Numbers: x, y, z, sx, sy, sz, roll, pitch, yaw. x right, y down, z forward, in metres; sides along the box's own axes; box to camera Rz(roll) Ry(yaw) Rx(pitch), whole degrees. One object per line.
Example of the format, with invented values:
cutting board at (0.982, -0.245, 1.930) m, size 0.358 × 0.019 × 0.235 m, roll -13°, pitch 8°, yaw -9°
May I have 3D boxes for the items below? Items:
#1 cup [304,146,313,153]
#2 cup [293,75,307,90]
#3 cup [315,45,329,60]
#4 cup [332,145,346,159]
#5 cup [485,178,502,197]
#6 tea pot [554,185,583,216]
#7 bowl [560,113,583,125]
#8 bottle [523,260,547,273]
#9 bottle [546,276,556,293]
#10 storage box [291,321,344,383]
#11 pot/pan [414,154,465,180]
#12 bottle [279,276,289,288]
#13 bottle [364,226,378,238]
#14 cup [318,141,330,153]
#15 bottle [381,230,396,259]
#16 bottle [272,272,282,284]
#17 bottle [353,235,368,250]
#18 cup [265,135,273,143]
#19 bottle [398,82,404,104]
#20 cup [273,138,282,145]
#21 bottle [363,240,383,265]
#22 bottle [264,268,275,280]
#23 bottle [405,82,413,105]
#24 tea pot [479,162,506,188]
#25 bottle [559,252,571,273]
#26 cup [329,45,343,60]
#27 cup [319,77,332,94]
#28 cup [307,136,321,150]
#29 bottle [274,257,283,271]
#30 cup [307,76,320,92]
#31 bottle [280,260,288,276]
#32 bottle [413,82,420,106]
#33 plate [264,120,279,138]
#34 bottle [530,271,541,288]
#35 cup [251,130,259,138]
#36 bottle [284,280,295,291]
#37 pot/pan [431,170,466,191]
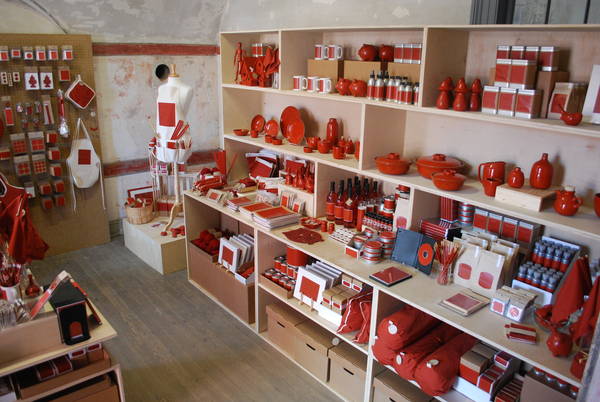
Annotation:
cup at (0.084, -0.531, 4.189) m, size 0.075 × 0.045 × 0.076 m, roll 2°, pitch 13°, yaw 0°
cup at (-0.033, -1.192, 4.094) m, size 0.100 × 0.139 × 0.175 m, roll -9°, pitch 18°, yaw -33°
cup at (0.181, -1.478, 4.033) m, size 0.105 × 0.129 × 0.165 m, roll -12°, pitch 21°, yaw -37°
cup at (0.372, -0.459, 3.899) m, size 0.082 × 0.095 × 0.132 m, roll -3°, pitch 21°, yaw -8°
cup at (1.485, -0.107, 3.159) m, size 0.110 × 0.126 × 0.111 m, roll 0°, pitch 18°, yaw 0°
tea pot at (1.904, -0.012, 2.990) m, size 0.208 × 0.237 × 0.172 m, roll -6°, pitch 11°, yaw -29°
bowl at (1.804, -0.548, 2.723) m, size 0.087 × 0.068 × 0.096 m, roll -5°, pitch 10°, yaw -16°
bottle at (1.733, 0.499, 3.054) m, size 0.096 × 0.035 × 0.095 m, roll -4°, pitch 20°, yaw 2°
bottle at (1.829, 0.601, 2.983) m, size 0.068 × 0.107 × 0.044 m, roll -7°, pitch 19°, yaw -20°
storage box at (0.195, 1.352, 3.903) m, size 0.466 × 0.353 × 0.469 m, roll 23°, pitch 29°, yaw 40°
pot/pan at (1.159, -0.312, 3.427) m, size 0.276 × 0.139 × 0.255 m, roll -3°, pitch 19°, yaw -18°
bottle at (-0.157, 0.791, 4.024) m, size 0.086 × 0.086 × 0.086 m, roll -9°, pitch 15°, yaw -37°
bottle at (0.643, 0.277, 3.712) m, size 0.080 × 0.065 × 0.107 m, roll 21°, pitch 7°, yaw 42°
cup at (0.235, -0.537, 4.067) m, size 0.093 × 0.117 × 0.125 m, roll 9°, pitch 27°, yaw 24°
bottle at (0.755, 0.379, 3.622) m, size 0.182 × 0.214 × 0.196 m, roll -2°, pitch 13°, yaw -2°
bottle at (-0.230, 0.767, 4.086) m, size 0.085 × 0.084 × 0.087 m, roll -1°, pitch 9°, yaw -8°
bottle at (0.539, 0.354, 3.645) m, size 0.106 × 0.106 × 0.104 m, roll 9°, pitch 21°, yaw 14°
cup at (-0.340, -0.680, 4.486) m, size 0.064 × 0.061 × 0.098 m, roll 20°, pitch 23°, yaw 41°
bottle at (0.819, -0.880, 3.368) m, size 0.053 × 0.129 × 0.034 m, roll 5°, pitch 19°, yaw 18°
cup at (-0.241, -0.649, 4.459) m, size 0.079 × 0.045 × 0.081 m, roll 1°, pitch 9°, yaw 0°
bottle at (0.625, 0.433, 3.578) m, size 0.169 × 0.164 × 0.170 m, roll -12°, pitch 22°, yaw -28°
bottle at (-0.313, 0.731, 4.147) m, size 0.092 × 0.089 × 0.094 m, roll 16°, pitch 29°, yaw 26°
bottle at (0.888, -0.880, 3.346) m, size 0.081 × 0.160 × 0.049 m, roll -6°, pitch 19°, yaw -16°
tea pot at (1.506, -0.213, 3.238) m, size 0.229 × 0.239 × 0.166 m, roll 8°, pitch 12°, yaw 44°
bottle at (1.947, 0.444, 3.005) m, size 0.085 × 0.136 × 0.047 m, roll -16°, pitch 23°, yaw -38°
cup at (0.340, -1.422, 3.918) m, size 0.169 × 0.150 × 0.106 m, roll -8°, pitch 14°, yaw -37°
cup at (0.242, -1.091, 3.876) m, size 0.153 × 0.136 × 0.098 m, roll 12°, pitch 21°, yaw 36°
cup at (0.142, -0.605, 4.282) m, size 0.151 × 0.136 × 0.115 m, roll 3°, pitch 14°, yaw 10°
bottle at (-0.221, 0.627, 4.161) m, size 0.114 × 0.127 × 0.113 m, roll -3°, pitch 11°, yaw -37°
cup at (0.123, -1.135, 3.963) m, size 0.091 × 0.138 × 0.154 m, roll -8°, pitch 16°, yaw -34°
bottle at (-0.151, 0.674, 4.137) m, size 0.096 × 0.107 × 0.098 m, roll 6°, pitch 18°, yaw 23°
bottle at (0.939, -0.873, 3.329) m, size 0.041 × 0.172 × 0.141 m, roll 3°, pitch 18°, yaw 10°
plate at (-0.321, -0.839, 4.677) m, size 0.208 × 0.218 × 0.050 m, roll 6°, pitch -1°, yaw 25°
bottle at (1.740, 0.574, 3.026) m, size 0.053 × 0.108 × 0.037 m, roll 6°, pitch 19°, yaw 20°
cup at (-0.528, -0.784, 4.769) m, size 0.099 × 0.082 × 0.095 m, roll 0°, pitch 17°, yaw 0°
bottle at (-0.096, 0.810, 3.971) m, size 0.082 × 0.081 × 0.084 m, roll 12°, pitch 21°, yaw 37°
pot/pan at (1.161, -0.159, 3.215) m, size 0.192 × 0.089 × 0.174 m, roll -9°, pitch 25°, yaw -43°
